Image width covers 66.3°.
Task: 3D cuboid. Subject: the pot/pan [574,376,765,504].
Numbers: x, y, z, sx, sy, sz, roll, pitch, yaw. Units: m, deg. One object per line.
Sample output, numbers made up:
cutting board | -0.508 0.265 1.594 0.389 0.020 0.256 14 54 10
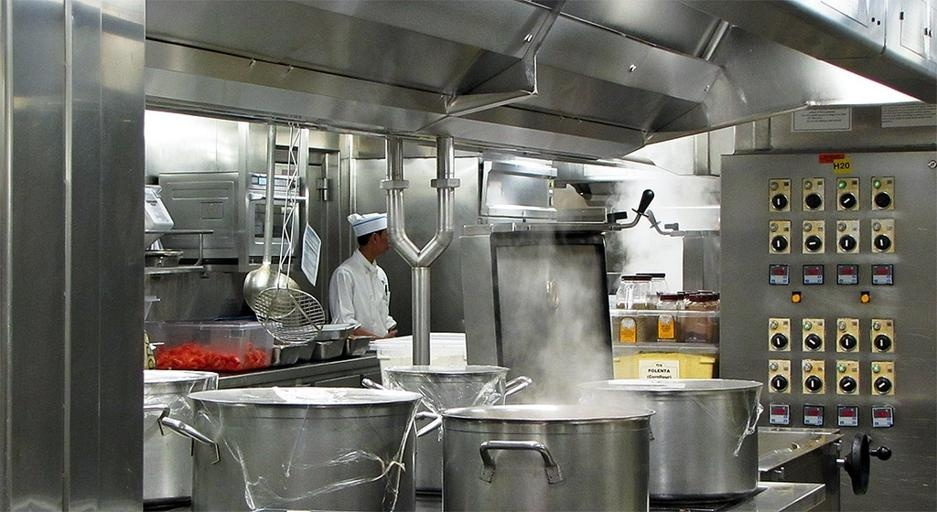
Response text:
pot/pan | 0.715 0.584 2.426 0.478 0.258 0.447 0 -1 -23

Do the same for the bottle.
bottle | 1.159 0.309 4.146 0.504 0.295 0.494 0 -3 0

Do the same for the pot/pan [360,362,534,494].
pot/pan | -0.046 0.476 2.365 0.630 0.373 0.388 1 -6 -2

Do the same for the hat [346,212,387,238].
hat | -0.741 -0.229 5.357 0.246 0.186 0.317 0 -2 -4

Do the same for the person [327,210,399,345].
person | -0.782 0.153 5.339 0.474 0.900 0.769 0 -2 -7

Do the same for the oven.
oven | -1.910 -0.273 5.977 0.820 0.715 1.150 2 1 12
